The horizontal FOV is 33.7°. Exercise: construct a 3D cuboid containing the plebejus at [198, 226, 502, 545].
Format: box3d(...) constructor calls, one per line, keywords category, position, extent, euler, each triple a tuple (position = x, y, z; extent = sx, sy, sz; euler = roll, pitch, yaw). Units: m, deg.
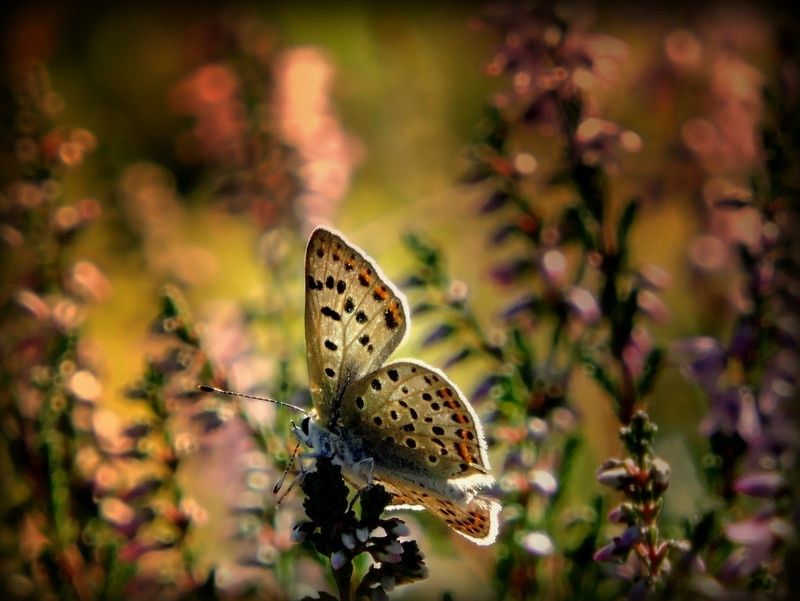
box3d(category="plebejus", position=(-0.036, 0.139, 2.183), extent=(0.473, 0.521, 0.272), euler=(27, 50, 6))
